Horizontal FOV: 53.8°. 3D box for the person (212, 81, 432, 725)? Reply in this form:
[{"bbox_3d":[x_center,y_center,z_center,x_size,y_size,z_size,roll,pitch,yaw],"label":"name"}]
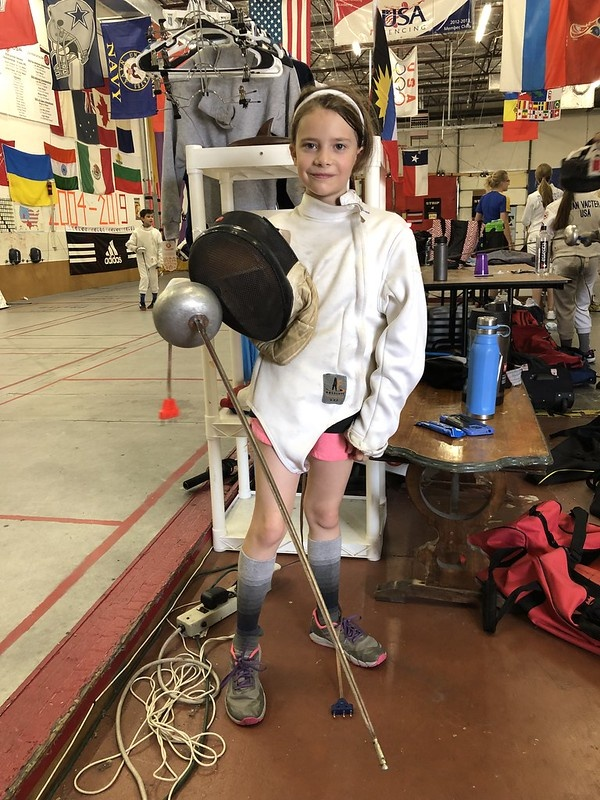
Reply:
[{"bbox_3d":[0.015,0.026,1.282,0.445,1.267,0.336,-4,16,-17],"label":"person"}]

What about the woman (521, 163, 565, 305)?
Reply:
[{"bbox_3d":[2.600,-1.783,6.355,0.382,1.503,0.399,20,43,40],"label":"woman"}]

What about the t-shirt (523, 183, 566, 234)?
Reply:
[{"bbox_3d":[2.556,-1.952,6.248,0.443,0.653,0.249,9,-8,-6],"label":"t-shirt"}]

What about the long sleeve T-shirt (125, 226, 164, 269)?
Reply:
[{"bbox_3d":[-2.403,-2.350,9.080,0.494,0.618,0.524,-6,17,-13],"label":"long sleeve T-shirt"}]

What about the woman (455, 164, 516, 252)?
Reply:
[{"bbox_3d":[2.410,-2.373,7.351,0.460,0.943,1.298,3,17,16],"label":"woman"}]

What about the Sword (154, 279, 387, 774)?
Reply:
[{"bbox_3d":[-0.063,0.362,1.468,0.251,1.272,0.216,-26,-11,28],"label":"Sword"}]

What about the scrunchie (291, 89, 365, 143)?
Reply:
[{"bbox_3d":[0.057,-0.565,1.153,0.137,0.076,0.074,-1,16,2],"label":"scrunchie"}]

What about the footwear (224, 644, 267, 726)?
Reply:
[{"bbox_3d":[-0.136,0.664,1.382,0.070,0.070,0.176,-1,14,-3],"label":"footwear"}]

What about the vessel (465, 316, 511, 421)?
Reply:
[{"bbox_3d":[0.581,-0.108,1.864,0.100,0.326,0.189,3,17,15],"label":"vessel"}]
